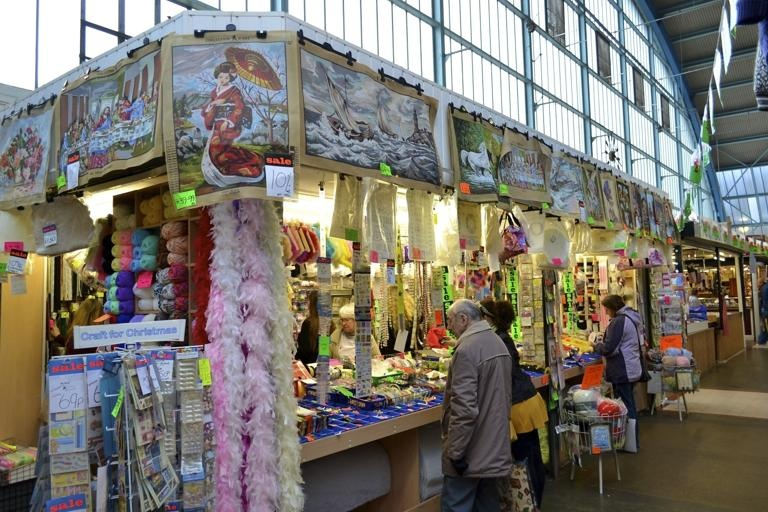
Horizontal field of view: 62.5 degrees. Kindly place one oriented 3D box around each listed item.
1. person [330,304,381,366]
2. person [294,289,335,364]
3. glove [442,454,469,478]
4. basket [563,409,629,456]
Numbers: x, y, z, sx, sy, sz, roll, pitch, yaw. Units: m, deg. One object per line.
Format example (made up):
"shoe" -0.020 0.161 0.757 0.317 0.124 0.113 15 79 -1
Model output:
"person" -0.298 0.886 7.023 0.609 0.914 0.458 -9 -14 34
"person" -0.962 0.879 7.895 0.296 0.895 0.559 -3 -7 -9
"glove" 0.624 1.846 5.602 0.219 0.240 0.167 -9 -16 38
"basket" 2.443 2.009 7.396 0.654 0.475 0.561 -2 -7 39
